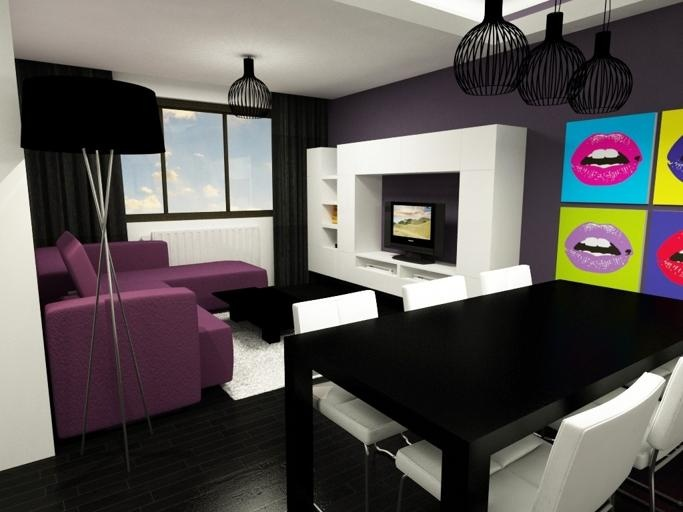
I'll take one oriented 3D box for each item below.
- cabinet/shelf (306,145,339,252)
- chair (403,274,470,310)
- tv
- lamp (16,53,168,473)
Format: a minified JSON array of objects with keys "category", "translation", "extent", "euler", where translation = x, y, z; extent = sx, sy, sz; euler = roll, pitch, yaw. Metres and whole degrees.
[{"category":"cabinet/shelf","translation":[-0.237,-0.755,7.160],"extent":[0.329,1.484,0.661],"euler":[-8,12,-29]},{"category":"chair","translation":[0.710,0.265,3.671],"extent":[0.348,0.135,0.103],"euler":[-7,14,-30]},{"category":"tv","translation":[0.868,-0.276,5.967],"extent":[0.203,0.529,0.692],"euler":[-8,14,-37]},{"category":"lamp","translation":[-1.714,-0.069,3.863],"extent":[0.789,2.516,2.089],"euler":[-6,11,-19]}]
